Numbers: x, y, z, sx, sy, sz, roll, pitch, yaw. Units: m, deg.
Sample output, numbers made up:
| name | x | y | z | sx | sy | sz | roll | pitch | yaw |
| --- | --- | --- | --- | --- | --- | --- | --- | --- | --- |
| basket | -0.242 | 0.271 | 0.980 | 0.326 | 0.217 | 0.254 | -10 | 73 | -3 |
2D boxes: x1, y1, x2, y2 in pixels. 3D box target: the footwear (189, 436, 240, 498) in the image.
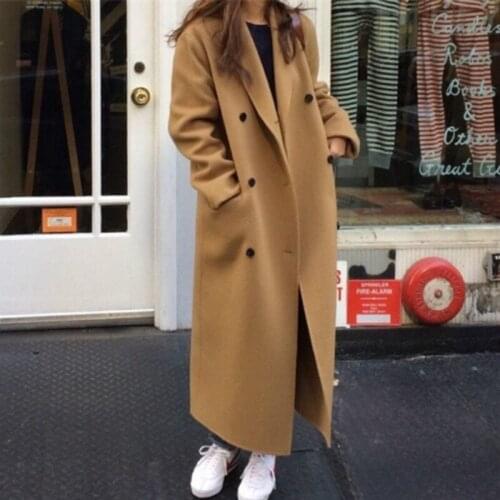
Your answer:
| name | x | y | z | sx | sy | sz | roll | pitch | yaw |
| --- | --- | --- | --- | --- | --- | --- | --- | --- | --- |
| footwear | -0.116 | 0.721 | 2.019 | 0.081 | 0.109 | 0.221 | 8 | 13 | 12 |

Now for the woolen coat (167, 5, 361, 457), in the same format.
| name | x | y | z | sx | sy | sz | roll | pitch | yaw |
| --- | --- | --- | --- | --- | --- | --- | --- | --- | --- |
| woolen coat | 0.061 | -0.076 | 1.852 | 0.613 | 1.355 | 0.404 | -1 | 13 | -9 |
